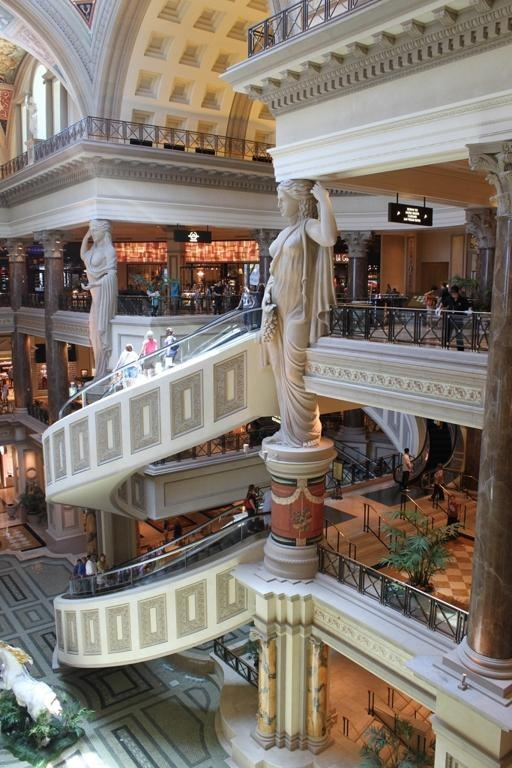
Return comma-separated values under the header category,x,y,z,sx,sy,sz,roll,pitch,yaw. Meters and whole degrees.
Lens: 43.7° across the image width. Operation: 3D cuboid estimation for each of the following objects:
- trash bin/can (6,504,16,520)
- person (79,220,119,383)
category,x,y,z,sx,sy,sz,roll,pitch,yaw
trash bin/can,-6.735,3.553,17.621,0.323,0.399,0.324,0,7,-15
person,-2.851,-1.484,11.707,0.500,2.845,0.780,-7,9,-32
